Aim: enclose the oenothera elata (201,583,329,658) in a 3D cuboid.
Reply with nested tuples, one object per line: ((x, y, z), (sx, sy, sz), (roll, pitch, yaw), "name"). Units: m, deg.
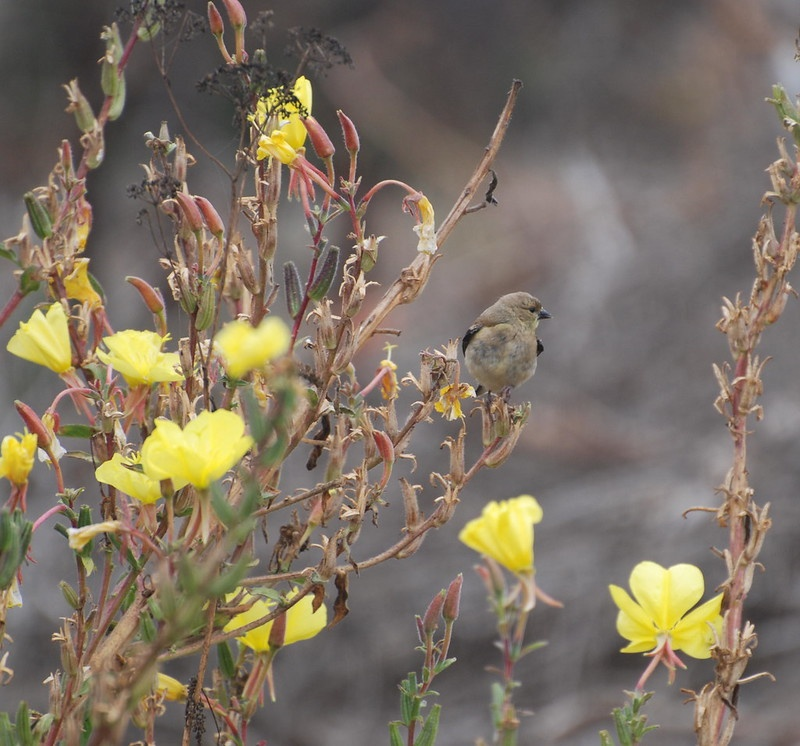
((-0.168, 0.300, 1.589), (0.147, 0.081, 0.136), (-18, -26, 27), "oenothera elata")

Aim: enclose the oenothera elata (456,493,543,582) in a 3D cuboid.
((0.104, 0.171, 1.354), (0.084, 0.096, 0.076), (-4, -21, -1), "oenothera elata")

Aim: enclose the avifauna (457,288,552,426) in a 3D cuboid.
((0.199, -0.046, 2.469), (0.168, 0.216, 0.140), (2, -8, 35), "avifauna")

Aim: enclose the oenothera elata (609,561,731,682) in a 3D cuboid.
((0.310, 0.305, 1.532), (0.133, 0.079, 0.138), (-8, 17, -10), "oenothera elata")
